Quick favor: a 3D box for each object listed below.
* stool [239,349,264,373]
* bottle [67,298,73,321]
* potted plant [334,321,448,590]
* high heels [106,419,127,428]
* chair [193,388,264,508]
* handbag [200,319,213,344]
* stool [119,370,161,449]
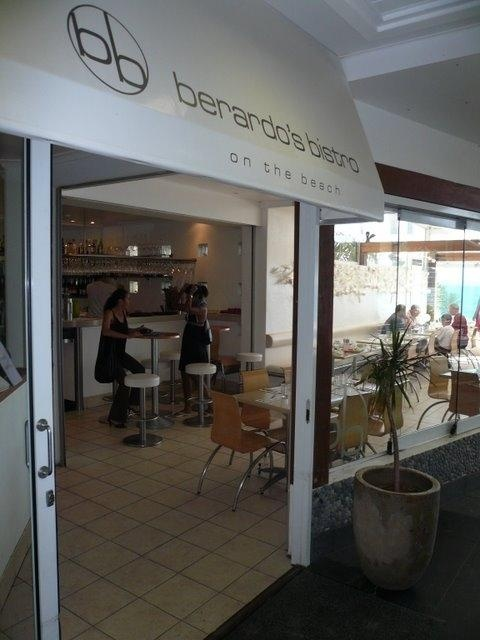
[{"bbox_3d":[0.159,0.653,7.274,0.355,0.289,1.017,2,2,5],"label":"stool"},{"bbox_3d":[-2.523,-0.174,6.825,0.076,0.280,0.441,1,1,-20],"label":"bottle"},{"bbox_3d":[1.057,0.825,3.134,0.554,1.577,1.379,2,1,24],"label":"potted plant"},{"bbox_3d":[-1.624,1.343,5.985,0.184,0.150,0.337,9,-15,-25],"label":"high heels"},{"bbox_3d":[-0.016,1.027,3.892,0.431,0.848,0.503,4,11,40],"label":"chair"},{"bbox_3d":[-0.448,0.151,6.288,0.103,0.307,0.260,1,1,3],"label":"handbag"},{"bbox_3d":[-1.120,0.934,5.376,0.336,0.549,0.365,3,4,25],"label":"stool"}]
